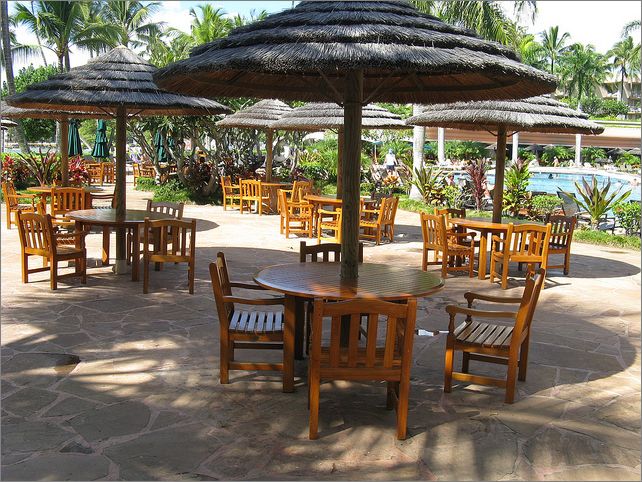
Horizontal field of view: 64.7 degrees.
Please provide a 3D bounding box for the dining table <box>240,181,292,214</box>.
[{"bbox_3d":[-1.947,-1.550,17.918,1.653,0.759,2.045,13,13,35],"label":"dining table"}]

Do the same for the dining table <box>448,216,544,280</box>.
[{"bbox_3d":[3.200,0.098,10.092,1.820,0.741,1.480,-2,6,-17],"label":"dining table"}]

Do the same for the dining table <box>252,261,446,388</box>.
[{"bbox_3d":[0.253,0.913,5.141,1.942,0.764,1.544,-1,9,-11],"label":"dining table"}]

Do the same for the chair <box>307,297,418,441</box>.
[{"bbox_3d":[0.347,1.012,4.271,0.877,1.219,0.581,3,17,-1],"label":"chair"}]

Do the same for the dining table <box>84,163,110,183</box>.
[{"bbox_3d":[-12.558,-3.799,28.734,1.360,1.218,3.639,-3,12,-22],"label":"dining table"}]

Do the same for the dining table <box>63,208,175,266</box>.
[{"bbox_3d":[-3.714,0.015,9.004,1.784,0.554,1.417,2,5,-9],"label":"dining table"}]
